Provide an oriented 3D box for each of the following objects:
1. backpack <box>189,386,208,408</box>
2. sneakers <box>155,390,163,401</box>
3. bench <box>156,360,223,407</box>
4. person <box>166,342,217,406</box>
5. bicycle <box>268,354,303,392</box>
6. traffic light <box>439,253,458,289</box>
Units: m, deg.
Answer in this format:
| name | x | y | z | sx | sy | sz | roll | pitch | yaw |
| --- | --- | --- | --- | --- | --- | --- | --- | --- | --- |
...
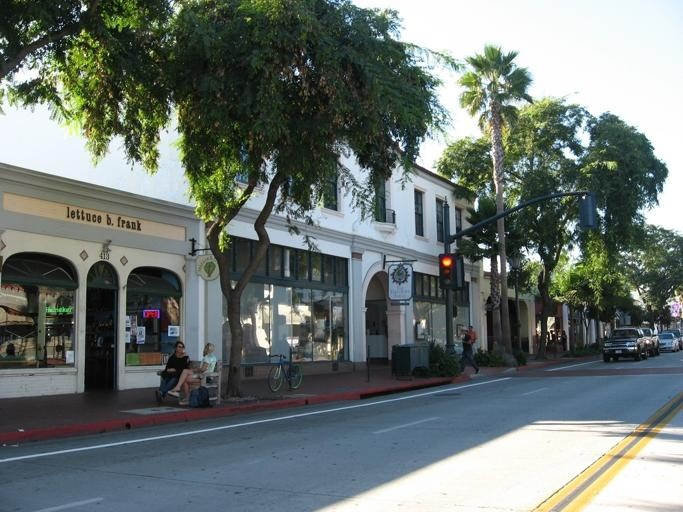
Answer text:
| name | x | y | z | sx | sy | sz | roll | pitch | yaw |
| --- | --- | --- | --- | --- | --- | --- | --- | --- | --- |
| backpack | -3.740 | 3.640 | 16.287 | 0.476 | 0.600 | 0.419 | 2 | -15 | -15 |
| sneakers | -5.005 | 3.839 | 17.063 | 0.127 | 0.435 | 0.173 | -1 | 3 | 2 |
| bench | -4.229 | 3.195 | 17.285 | 1.380 | 1.660 | 0.652 | 9 | -18 | -25 |
| person | -4.118 | 3.177 | 17.315 | 1.105 | 1.725 | 0.669 | 17 | -19 | -19 |
| bicycle | -1.867 | 3.915 | 21.151 | 0.412 | 1.164 | 1.907 | 4 | -2 | 31 |
| traffic light | 4.163 | 0.500 | 24.035 | 0.644 | 1.347 | 0.684 | -4 | -11 | 12 |
